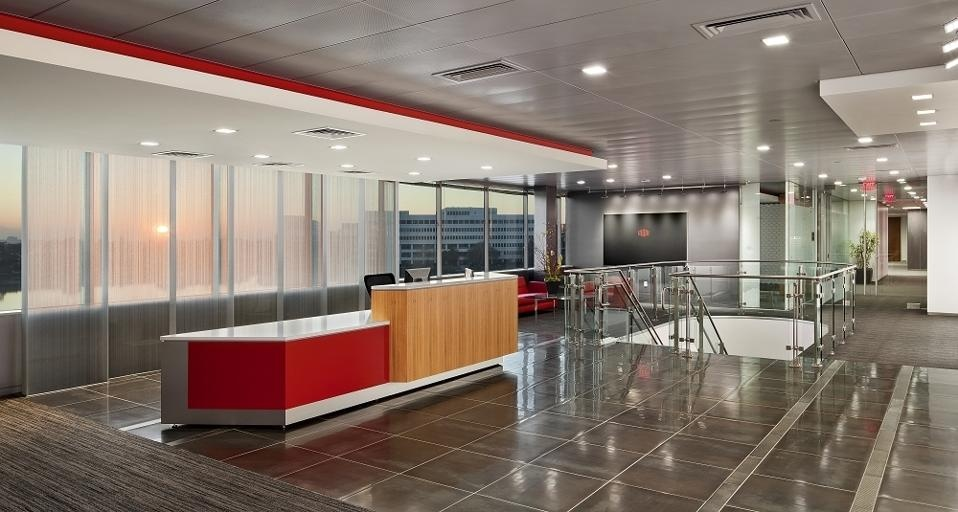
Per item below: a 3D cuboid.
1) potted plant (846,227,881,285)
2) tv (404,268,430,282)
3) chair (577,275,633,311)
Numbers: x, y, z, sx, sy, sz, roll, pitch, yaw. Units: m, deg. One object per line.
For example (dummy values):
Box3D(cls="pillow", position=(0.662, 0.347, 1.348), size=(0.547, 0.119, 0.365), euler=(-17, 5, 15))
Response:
Box3D(cls="potted plant", position=(14.972, 0.019, 21.166), size=(1.455, 2.078, 0.694), euler=(-5, 15, -18))
Box3D(cls="tv", position=(-1.140, 0.337, 9.964), size=(0.431, 0.284, 0.589), euler=(-3, 12, -10))
Box3D(cls="chair", position=(2.772, 0.771, 12.116), size=(1.043, 0.509, 0.957), euler=(-1, 0, -30))
